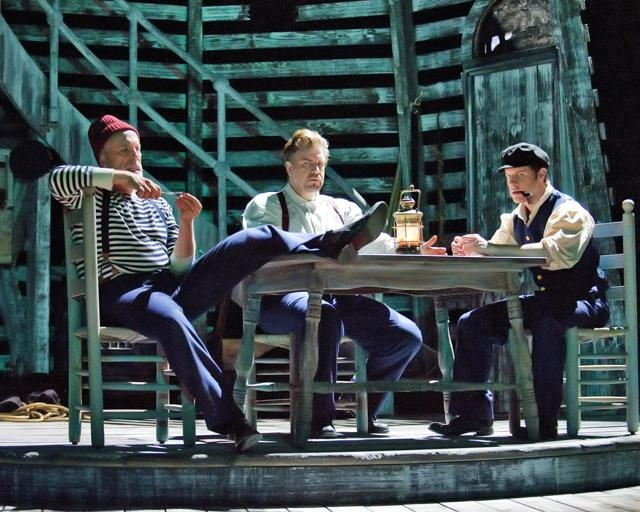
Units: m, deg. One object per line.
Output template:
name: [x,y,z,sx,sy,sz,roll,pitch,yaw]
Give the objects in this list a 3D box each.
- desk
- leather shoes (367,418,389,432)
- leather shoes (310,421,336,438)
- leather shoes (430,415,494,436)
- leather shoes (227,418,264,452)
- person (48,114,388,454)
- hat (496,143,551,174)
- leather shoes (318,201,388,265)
desk: [0.300,0.507,7.491,1.625,0.897,1.226,1,-2,-15]
leather shoes: [0.340,1.090,7.917,0.191,0.074,0.063,-5,-8,22]
leather shoes: [0.035,1.064,7.547,0.061,0.072,0.199,-12,-23,33]
leather shoes: [0.892,1.042,7.648,0.395,0.160,0.126,3,-8,10]
leather shoes: [-0.408,0.969,6.703,0.112,0.096,0.250,44,-9,5]
person: [-0.726,0.107,7.121,1.639,2.013,0.677,-2,-9,-1]
hat: [1.271,-0.603,7.615,0.280,0.103,0.202,4,-10,-19]
leather shoes: [0.185,-0.126,7.174,0.123,0.344,0.241,38,10,-33]
